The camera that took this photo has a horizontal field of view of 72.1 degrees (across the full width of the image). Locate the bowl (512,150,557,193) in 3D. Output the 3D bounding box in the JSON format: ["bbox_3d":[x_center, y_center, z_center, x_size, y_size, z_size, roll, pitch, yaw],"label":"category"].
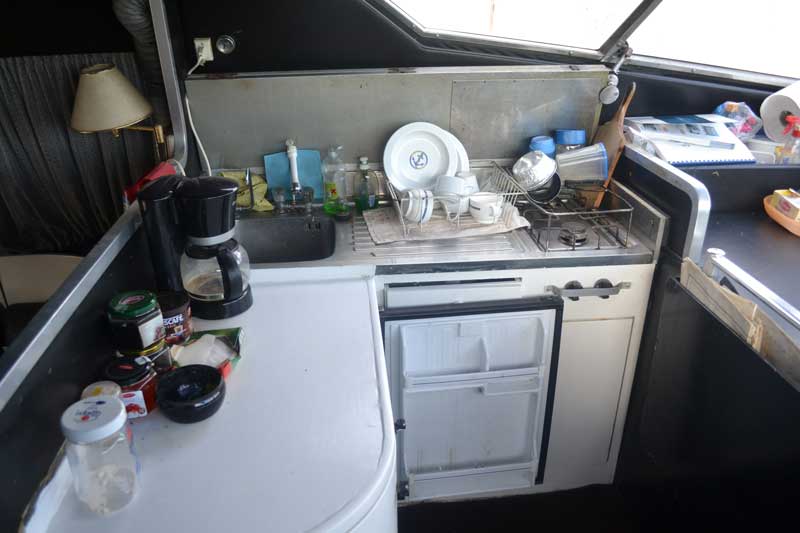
[{"bbox_3d":[0.590,-0.417,2.429,0.169,0.094,0.174,-18,53,25],"label":"bowl"}]

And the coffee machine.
[{"bbox_3d":[-0.756,-0.065,1.779,0.142,0.446,0.248,-11,41,-14],"label":"coffee machine"}]

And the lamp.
[{"bbox_3d":[-1.230,-0.751,2.533,0.308,0.380,0.393,-1,38,-3],"label":"lamp"}]

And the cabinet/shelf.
[{"bbox_3d":[0.832,0.495,2.348,0.454,1.023,0.225,-5,30,-1],"label":"cabinet/shelf"}]

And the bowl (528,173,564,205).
[{"bbox_3d":[0.665,-0.333,2.516,0.139,0.144,0.130,17,1,0],"label":"bowl"}]

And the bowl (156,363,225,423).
[{"bbox_3d":[-0.607,0.369,1.584,0.204,0.097,0.187,8,21,-3],"label":"bowl"}]

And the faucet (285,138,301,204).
[{"bbox_3d":[-0.467,-0.436,2.493,0.055,0.283,0.075,2,11,11],"label":"faucet"}]

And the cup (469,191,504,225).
[{"bbox_3d":[0.371,-0.249,2.328,0.112,0.104,0.149,-1,28,-3],"label":"cup"}]

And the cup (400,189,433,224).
[{"bbox_3d":[0.056,-0.230,2.376,0.124,0.192,0.181,-1,0,-17],"label":"cup"}]

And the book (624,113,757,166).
[{"bbox_3d":[1.237,-0.543,2.365,0.332,0.082,0.338,-6,36,-8],"label":"book"}]
